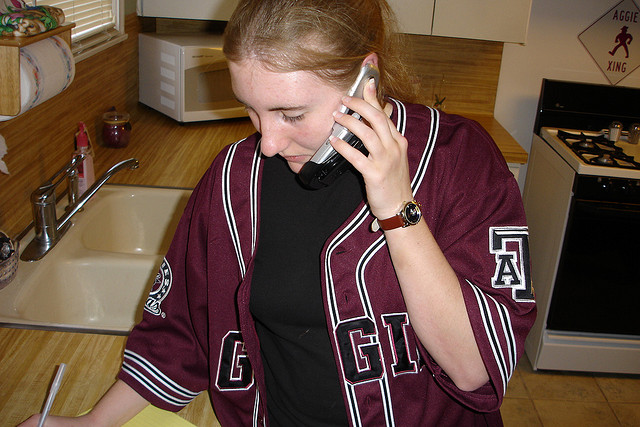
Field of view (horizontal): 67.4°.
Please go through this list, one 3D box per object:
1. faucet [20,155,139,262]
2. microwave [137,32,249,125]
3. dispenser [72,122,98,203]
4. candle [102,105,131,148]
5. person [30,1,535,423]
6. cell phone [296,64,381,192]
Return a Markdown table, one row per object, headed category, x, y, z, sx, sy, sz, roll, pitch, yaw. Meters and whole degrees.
| category | x | y | z | sx | sy | sz | roll | pitch | yaw |
| --- | --- | --- | --- | --- | --- | --- | --- | --- | --- |
| faucet | -0.929 | -0.052 | 1.802 | 0.166 | 0.289 | 0.457 | 19 | 30 | 35 |
| microwave | -0.660 | -0.669 | 2.385 | 0.599 | 0.414 | 0.418 | -18 | 40 | -42 |
| dispenser | -1.009 | -0.227 | 2.051 | 0.098 | 0.318 | 0.101 | 0 | 19 | -16 |
| candle | -1.000 | -0.420 | 2.336 | 0.132 | 0.186 | 0.181 | 3 | 22 | -20 |
| person | -0.012 | 0.035 | 1.108 | 0.958 | 0.951 | 0.379 | 3 | 24 | 3 |
| cell phone | 0.073 | -0.157 | 1.022 | 0.067 | 0.285 | 0.142 | 35 | 21 | 10 |
